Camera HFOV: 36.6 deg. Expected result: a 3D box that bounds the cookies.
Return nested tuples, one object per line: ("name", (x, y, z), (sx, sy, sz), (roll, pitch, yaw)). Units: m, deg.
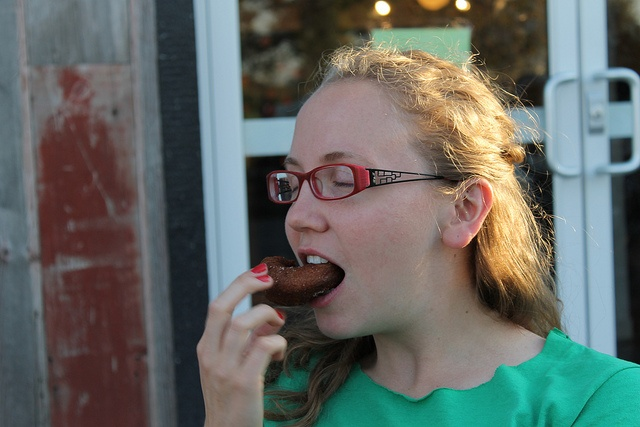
("cookies", (-0.081, 0.298, 4.510), (0.277, 0.114, 0.227), (-12, 22, 8))
